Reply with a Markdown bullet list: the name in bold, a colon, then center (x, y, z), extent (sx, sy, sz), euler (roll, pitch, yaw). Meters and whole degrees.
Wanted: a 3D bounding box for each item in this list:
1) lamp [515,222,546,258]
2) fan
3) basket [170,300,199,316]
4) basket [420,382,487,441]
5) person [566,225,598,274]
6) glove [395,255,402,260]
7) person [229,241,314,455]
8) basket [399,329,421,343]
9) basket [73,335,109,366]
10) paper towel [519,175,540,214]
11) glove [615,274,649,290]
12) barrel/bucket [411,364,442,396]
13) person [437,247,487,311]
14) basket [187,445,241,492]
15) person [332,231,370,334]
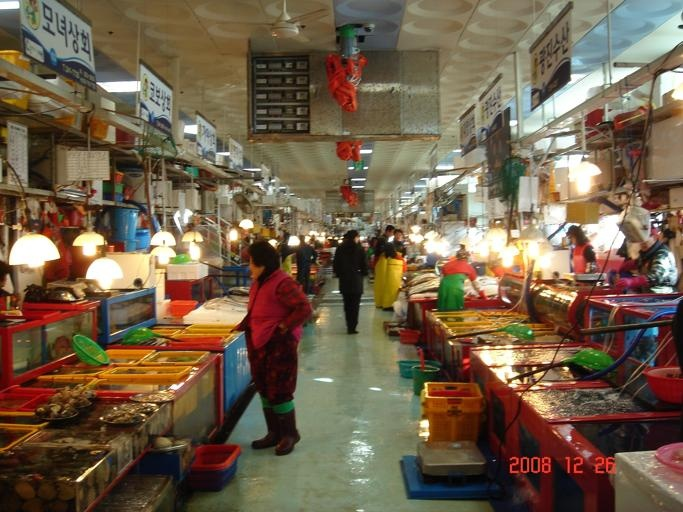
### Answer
- **lamp**: center (2.136, -0.148, 6.119), extent (0.272, 0.433, 0.884), euler (0, 7, 19)
- **fan**: center (-0.817, -2.871, 6.614), extent (1.009, 0.286, 0.974), euler (-5, 7, -40)
- **basket**: center (-1.952, 0.649, 6.754), extent (0.326, 0.151, 0.354), euler (-6, 8, -33)
- **basket**: center (0.927, 1.330, 4.645), extent (0.509, 0.203, 0.547), euler (0, -3, 3)
- **person**: center (2.902, -0.066, 6.627), extent (0.306, 0.604, 0.874), euler (0, 7, 22)
- **glove**: center (1.189, 0.019, 11.382), extent (0.109, 0.115, 0.325), euler (-1, 6, 11)
- **person**: center (-0.556, 0.771, 4.644), extent (0.655, 1.803, 0.400), euler (3, 11, 35)
- **basket**: center (1.058, 1.244, 8.367), extent (0.299, 0.130, 0.201), euler (-2, -2, 26)
- **basket**: center (-2.073, 0.769, 4.505), extent (0.261, 0.250, 0.255), euler (-6, 8, -22)
- **paper towel**: center (2.077, -0.691, 6.108), extent (0.206, 0.412, 0.287), euler (-1, 8, 16)
- **glove**: center (2.699, 0.260, 5.107), extent (0.258, 0.150, 0.183), euler (-2, 7, 5)
- **barrel/bucket**: center (0.931, 1.349, 5.918), extent (0.375, 0.256, 0.360), euler (1, -4, 0)
- **person**: center (1.574, 0.399, 7.342), extent (0.533, 0.662, 0.354), euler (-6, 9, -24)
- **basket**: center (-0.978, 1.627, 4.175), extent (0.343, 0.127, 0.375), euler (0, -5, -3)
- **person**: center (0.159, 0.433, 9.306), extent (0.589, 1.756, 0.712), euler (-3, 9, 2)
